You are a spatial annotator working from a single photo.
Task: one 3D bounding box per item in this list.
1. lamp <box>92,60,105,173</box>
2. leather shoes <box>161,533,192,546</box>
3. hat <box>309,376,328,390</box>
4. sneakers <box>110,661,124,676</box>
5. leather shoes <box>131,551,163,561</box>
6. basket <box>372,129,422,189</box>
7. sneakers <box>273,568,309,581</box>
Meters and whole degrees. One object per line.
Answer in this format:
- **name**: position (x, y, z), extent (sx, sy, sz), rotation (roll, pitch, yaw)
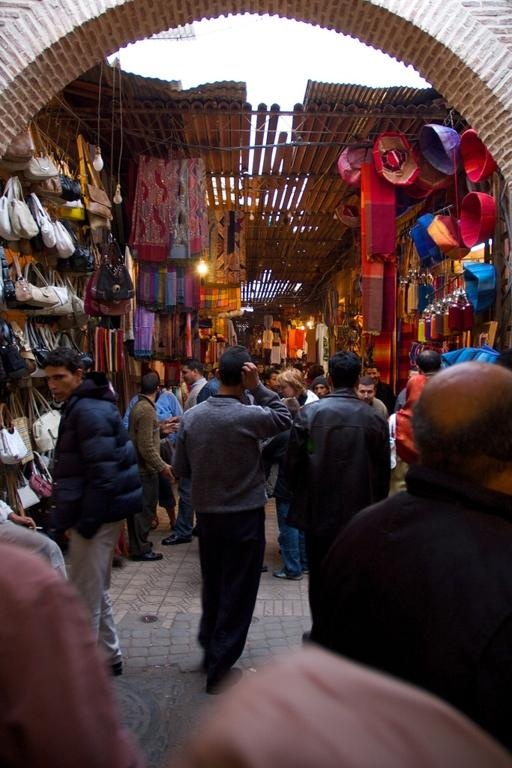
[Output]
- **lamp**: position (-1.879, -3.170, 6.352), extent (0.190, 1.297, 0.192), rotation (-10, 46, -25)
- **leather shoes**: position (-0.906, 1.751, 6.094), extent (0.366, 0.161, 0.138), rotation (4, -5, -10)
- **hat**: position (0.814, -0.027, 6.874), extent (0.152, 0.165, 0.210), rotation (4, -21, 7)
- **sneakers**: position (-0.837, 1.708, 3.214), extent (0.077, 0.069, 0.121), rotation (9, -10, -14)
- **leather shoes**: position (-1.127, 1.765, 5.535), extent (0.317, 0.135, 0.117), rotation (-1, -1, -6)
- **basket**: position (1.738, -2.765, 6.705), extent (0.552, 0.579, 0.387), rotation (1, -2, 12)
- **sneakers**: position (0.334, 1.803, 5.102), extent (0.287, 0.124, 0.108), rotation (3, 0, 3)
